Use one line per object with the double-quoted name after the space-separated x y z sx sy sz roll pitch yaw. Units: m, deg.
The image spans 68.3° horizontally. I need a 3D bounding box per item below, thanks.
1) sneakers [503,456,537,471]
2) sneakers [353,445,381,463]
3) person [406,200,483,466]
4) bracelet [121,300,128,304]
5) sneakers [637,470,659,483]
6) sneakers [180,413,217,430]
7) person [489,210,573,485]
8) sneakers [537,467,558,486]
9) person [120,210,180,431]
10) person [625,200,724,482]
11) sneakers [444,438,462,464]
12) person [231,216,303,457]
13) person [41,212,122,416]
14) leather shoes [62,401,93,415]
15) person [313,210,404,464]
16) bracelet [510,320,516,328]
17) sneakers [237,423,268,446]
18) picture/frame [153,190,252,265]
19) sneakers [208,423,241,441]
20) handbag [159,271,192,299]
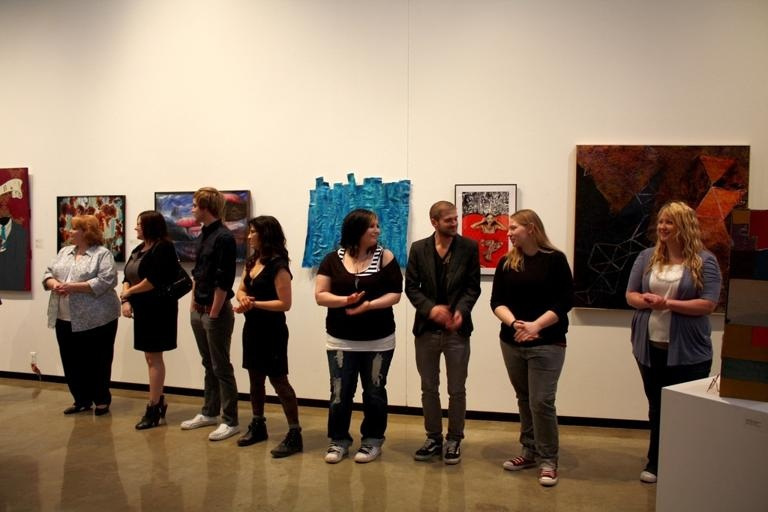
1.185 1.814 4.982 0.297 0.111 0.116 2 -3 -7 "sneakers"
-0.146 1.764 5.061 0.101 0.114 0.276 -4 -12 25 "sneakers"
0.517 0.813 5.099 0.639 2.012 0.497 1 10 3 "person"
-2.667 0.467 5.829 0.040 0.029 0.040 3 2 -4 "bracelet"
2.239 1.867 4.801 0.130 0.086 0.079 12 -7 10 "sneakers"
-1.884 1.687 5.796 0.331 0.127 0.137 5 -6 -28 "sneakers"
1.236 0.745 4.867 0.691 2.246 0.490 6 12 31 "person"
1.393 1.828 4.807 0.154 0.140 0.206 3 11 17 "sneakers"
-2.400 0.618 5.849 0.562 2.147 0.590 9 14 41 "person"
2.368 0.732 4.744 0.684 2.340 0.505 5 11 25 "person"
0.618 1.745 5.078 0.149 0.156 0.403 -1 -12 5 "sneakers"
-1.053 0.719 5.208 0.670 2.157 0.503 8 13 39 "person"
-3.239 0.617 6.086 0.702 2.083 0.529 1 10 5 "person"
-3.281 1.639 6.097 0.275 0.105 0.099 11 -5 -37 "leather shoes"
-0.214 0.711 5.063 0.749 2.240 0.474 -1 10 -7 "person"
1.086 0.570 4.768 0.012 0.047 0.050 15 3 -14 "bracelet"
-1.233 1.686 5.374 0.125 0.197 0.331 -4 -9 36 "sneakers"
-1.873 -0.295 5.986 0.884 0.587 0.031 1 3 17 "picture/frame"
-1.545 1.704 5.548 0.117 0.117 0.302 -4 -6 40 "sneakers"
-2.101 0.301 5.812 0.313 0.235 0.112 -33 10 -7 "handbag"
